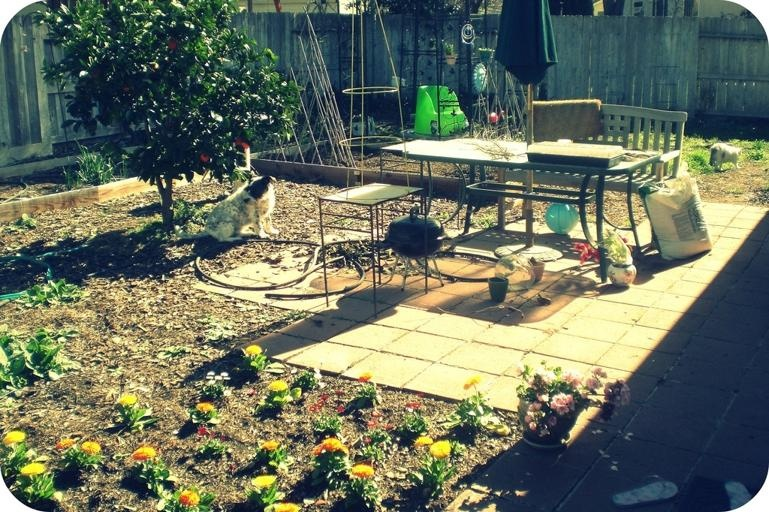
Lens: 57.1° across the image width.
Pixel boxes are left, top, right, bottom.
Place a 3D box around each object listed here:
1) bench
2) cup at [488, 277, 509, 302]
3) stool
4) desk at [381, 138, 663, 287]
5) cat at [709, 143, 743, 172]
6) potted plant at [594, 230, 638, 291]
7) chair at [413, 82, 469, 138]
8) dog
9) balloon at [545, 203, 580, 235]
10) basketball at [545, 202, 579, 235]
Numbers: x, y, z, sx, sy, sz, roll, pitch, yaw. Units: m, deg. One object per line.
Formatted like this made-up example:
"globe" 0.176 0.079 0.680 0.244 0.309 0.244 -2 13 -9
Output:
"bench" 2.485 -0.942 8.499 1.726 1.187 0.812 9 21 31
"cup" 1.191 0.335 7.211 0.223 0.247 0.228 -1 5 0
"stool" -0.193 -0.278 7.392 0.597 0.929 0.957 -22 -20 40
"desk" 1.808 -1.085 8.145 3.077 1.523 1.690 11 23 37
"cat" 5.255 -1.553 10.880 0.568 0.409 0.345 -20 22 -38
"potted plant" 2.484 0.024 7.444 0.371 0.557 0.339 -2 10 -10
"chair" 1.142 -2.937 13.686 1.046 0.996 0.806 -24 30 -35
"dog" -1.899 -0.542 8.590 1.237 0.721 0.480 -11 11 -30
"balloon" 2.115 -0.440 8.534 0.369 0.489 0.369 -1 -1 -2
"basketball" 2.096 -0.437 8.569 0.373 0.431 0.363 2 -19 2
